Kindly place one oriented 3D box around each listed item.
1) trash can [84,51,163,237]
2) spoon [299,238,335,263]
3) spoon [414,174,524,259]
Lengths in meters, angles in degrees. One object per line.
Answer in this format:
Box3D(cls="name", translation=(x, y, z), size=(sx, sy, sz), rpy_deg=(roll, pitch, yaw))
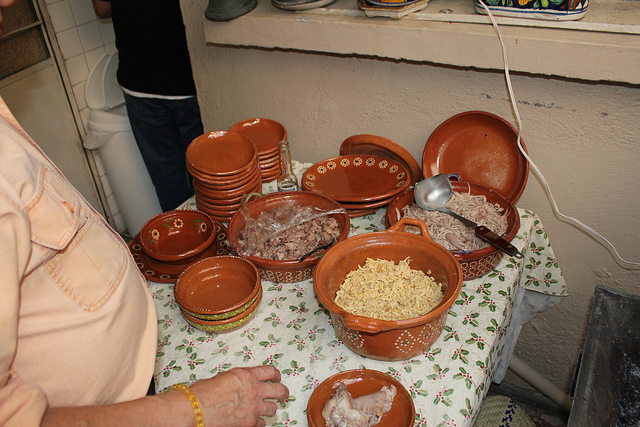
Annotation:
Box3D(cls="trash can", translation=(-1.162, -0.467, 2.809), size=(0.340, 0.411, 1.212), rpy_deg=(-4, 63, 13))
Box3D(cls="spoon", translation=(-0.012, 0.132, 1.652), size=(0.119, 0.022, 0.019), rpy_deg=(-34, 41, -26))
Box3D(cls="spoon", translation=(0.502, -0.011, 1.737), size=(0.172, 0.073, 0.508), rpy_deg=(-31, 47, -20))
